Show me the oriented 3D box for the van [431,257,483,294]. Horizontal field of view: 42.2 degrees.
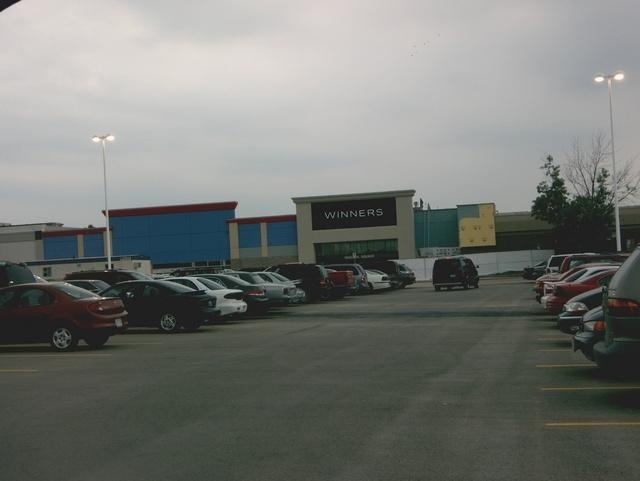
[{"bbox_3d":[7.238,1.669,43.917,1.676,1.021,2.745,0,3,30],"label":"van"}]
